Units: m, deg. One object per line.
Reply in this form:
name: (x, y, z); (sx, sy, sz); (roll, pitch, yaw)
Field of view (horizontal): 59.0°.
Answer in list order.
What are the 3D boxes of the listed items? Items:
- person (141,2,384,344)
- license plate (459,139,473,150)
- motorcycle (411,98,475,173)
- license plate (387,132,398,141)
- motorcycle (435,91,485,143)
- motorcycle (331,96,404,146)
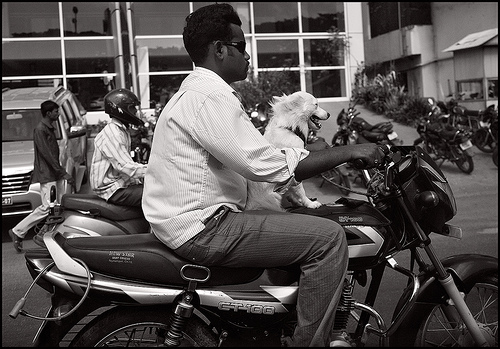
person: (-0.042, -0.025, 3.200); (1.485, 2.435, 0.462); (1, 1, 11)
license plate: (5.265, -0.730, 10.757); (0.271, 0.194, 0.038); (-24, -11, 7)
motorcycle: (4.408, -0.936, 9.978); (0.697, 0.938, 1.376); (-32, 41, -13)
license plate: (3.335, -0.898, 10.339); (0.187, 0.202, 0.048); (3, 2, 22)
motorcycle: (5.595, -1.533, 11.823); (1.450, 1.072, 0.953); (5, 5, -7)
motorcycle: (2.815, -1.124, 10.909); (1.843, 1.298, 0.943); (16, 22, 42)
